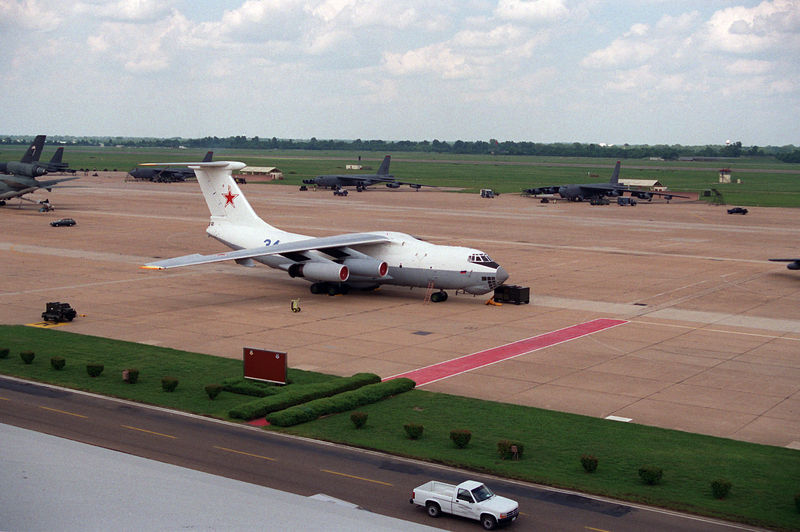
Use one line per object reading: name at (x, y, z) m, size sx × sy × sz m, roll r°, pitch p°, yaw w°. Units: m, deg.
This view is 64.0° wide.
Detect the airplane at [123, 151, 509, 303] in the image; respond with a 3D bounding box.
airplane at (-6.122, -2.928, 52.531) m, size 26.697 × 11.564 × 9.029 m, roll 4°, pitch 12°, yaw 21°

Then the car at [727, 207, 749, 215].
car at (62.538, -10.071, 117.746) m, size 4.818 × 1.112 × 2.232 m, roll 7°, pitch 11°, yaw 20°

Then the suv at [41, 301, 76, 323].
suv at (-24.239, 3.348, 45.713) m, size 3.074 × 0.901 × 1.554 m, roll 3°, pitch 4°, yaw 20°

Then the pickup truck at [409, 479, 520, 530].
pickup truck at (2.584, 8.761, 23.546) m, size 4.085 × 0.718 × 1.623 m, roll 2°, pitch 6°, yaw 20°

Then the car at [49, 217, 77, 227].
car at (-47.298, -5.956, 87.894) m, size 4.986 × 0.790 × 1.675 m, roll 1°, pitch 1°, yaw -10°
